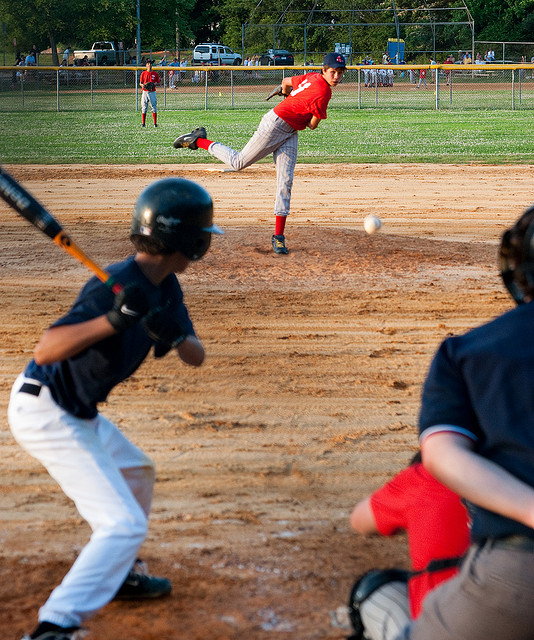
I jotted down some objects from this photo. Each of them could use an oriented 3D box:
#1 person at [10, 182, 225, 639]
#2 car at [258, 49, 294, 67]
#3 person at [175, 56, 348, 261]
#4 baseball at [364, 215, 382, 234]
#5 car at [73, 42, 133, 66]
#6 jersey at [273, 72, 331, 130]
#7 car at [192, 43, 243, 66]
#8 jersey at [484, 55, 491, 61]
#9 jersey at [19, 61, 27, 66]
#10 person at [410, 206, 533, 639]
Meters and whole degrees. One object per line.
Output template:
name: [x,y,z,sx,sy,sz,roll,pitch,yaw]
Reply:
person: [-0.520,0.289,2.616,0.595,1.459,0.789,3,10,6]
car: [0.362,-14.664,45.230,1.371,0.831,2.403,-4,14,-17]
person: [-0.018,-1.813,7.809,1.600,1.965,0.675,39,34,29]
baseball: [0.961,-0.897,7.727,0.199,0.182,0.175,1,14,3]
car: [-8.965,-14.097,43.827,1.825,1.249,3.191,12,20,35]
jersey: [0.272,-1.946,7.274,0.569,0.188,0.593,27,-6,0]
car: [-2.966,-15.071,46.296,1.601,1.121,2.896,14,24,40]
jersey: [11.917,-14.312,44.604,0.239,0.380,0.665,4,9,13]
jersey: [-11.427,-12.107,38.581,0.472,0.092,0.405,1,28,-3]
person: [0.453,0.217,1.772,0.248,0.915,0.373,4,10,10]
